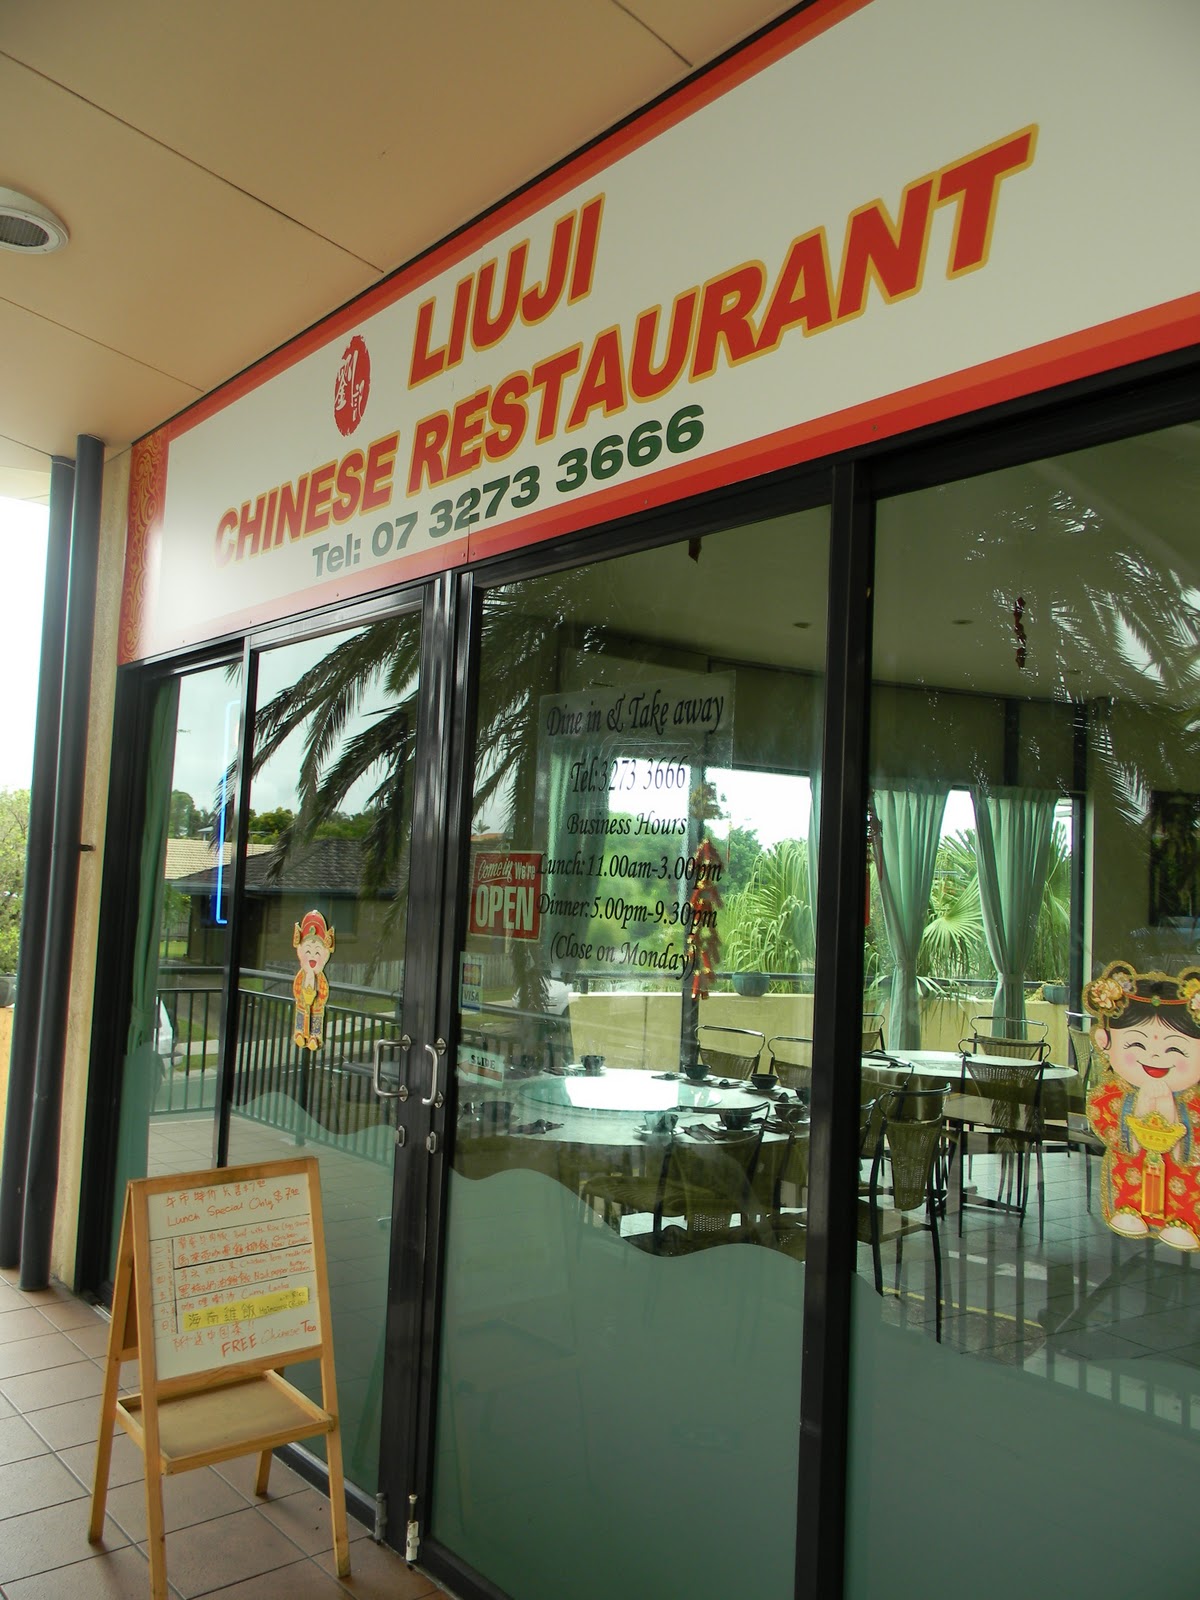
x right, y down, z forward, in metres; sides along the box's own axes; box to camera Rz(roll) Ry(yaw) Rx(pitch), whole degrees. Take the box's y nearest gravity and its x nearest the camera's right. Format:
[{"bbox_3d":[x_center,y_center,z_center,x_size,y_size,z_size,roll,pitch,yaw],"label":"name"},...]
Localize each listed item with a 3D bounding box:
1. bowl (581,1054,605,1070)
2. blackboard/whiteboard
[{"bbox_3d":[-0.013,0.479,2.108,0.032,0.025,0.031,1,-9,0],"label":"bowl"},{"bbox_3d":[-0.754,0.994,2.363,0.362,0.432,0.247,-2,-35,-22],"label":"blackboard/whiteboard"}]
